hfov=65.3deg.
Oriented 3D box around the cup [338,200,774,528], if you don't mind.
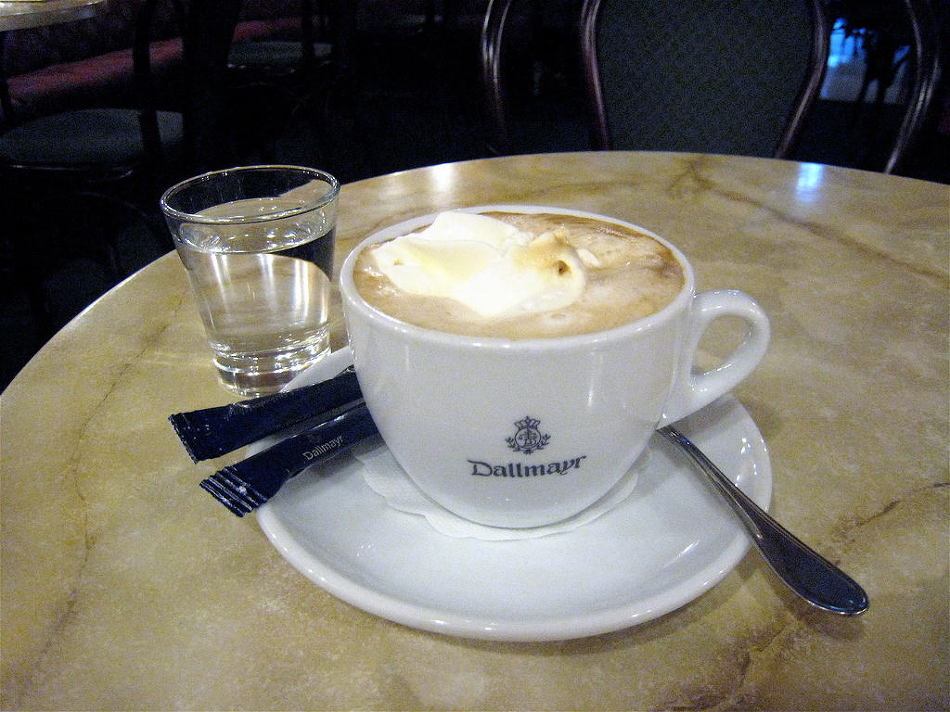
[{"bbox_3d":[0.069,0.021,0.686,0.351,0.204,0.286,-7,24,-14],"label":"cup"}]
